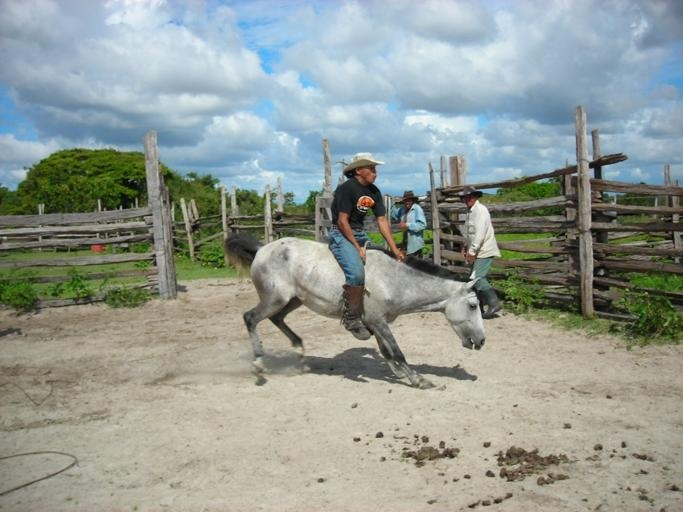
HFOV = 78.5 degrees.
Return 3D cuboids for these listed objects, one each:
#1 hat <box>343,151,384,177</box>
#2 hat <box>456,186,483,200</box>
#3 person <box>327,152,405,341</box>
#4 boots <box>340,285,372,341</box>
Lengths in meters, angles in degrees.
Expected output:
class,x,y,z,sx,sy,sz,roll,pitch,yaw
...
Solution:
class,x,y,z,sx,sy,sz,roll,pitch,yaw
hat,0.224,-1.241,5.774,0.267,0.280,0.537,-8,9,-37
hat,2.634,-1.277,8.478,0.328,0.281,0.618,0,7,9
person,0.284,-0.102,5.896,0.719,2.575,0.910,5,11,38
boots,0.185,0.748,5.767,0.408,0.613,0.731,-1,10,-15
